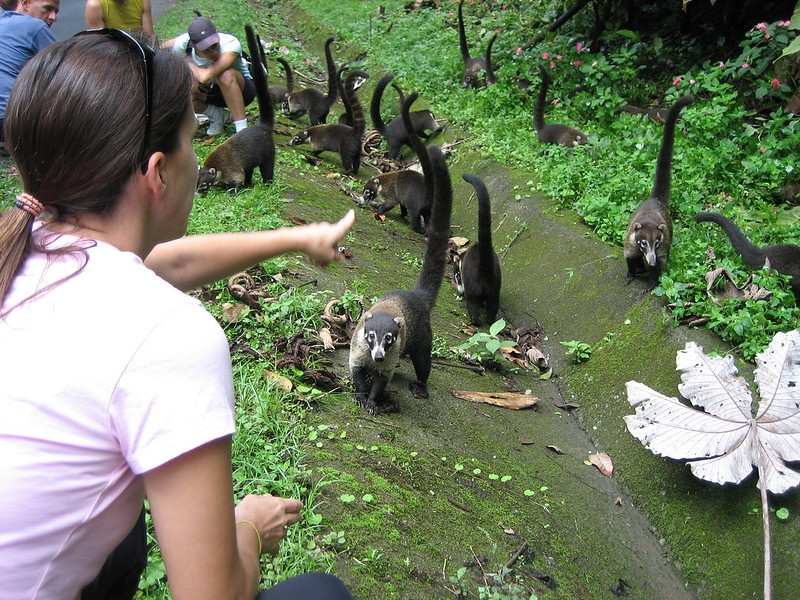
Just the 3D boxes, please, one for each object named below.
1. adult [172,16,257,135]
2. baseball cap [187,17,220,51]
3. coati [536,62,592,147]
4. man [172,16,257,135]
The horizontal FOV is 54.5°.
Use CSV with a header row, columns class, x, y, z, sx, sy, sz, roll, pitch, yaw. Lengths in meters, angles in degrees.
class,x,y,z,sx,sy,sz,roll,pitch,yaw
adult,-1.830,-2.137,7.441,0.765,1.184,0.865,-3,31,-3
baseball cap,-1.751,-2.383,6.982,0.213,0.165,0.324,-31,70,-4
coati,1.527,-1.769,7.297,0.400,0.637,1.214,6,24,-5
man,-1.863,-2.124,7.459,0.820,1.133,0.813,-4,31,-6
